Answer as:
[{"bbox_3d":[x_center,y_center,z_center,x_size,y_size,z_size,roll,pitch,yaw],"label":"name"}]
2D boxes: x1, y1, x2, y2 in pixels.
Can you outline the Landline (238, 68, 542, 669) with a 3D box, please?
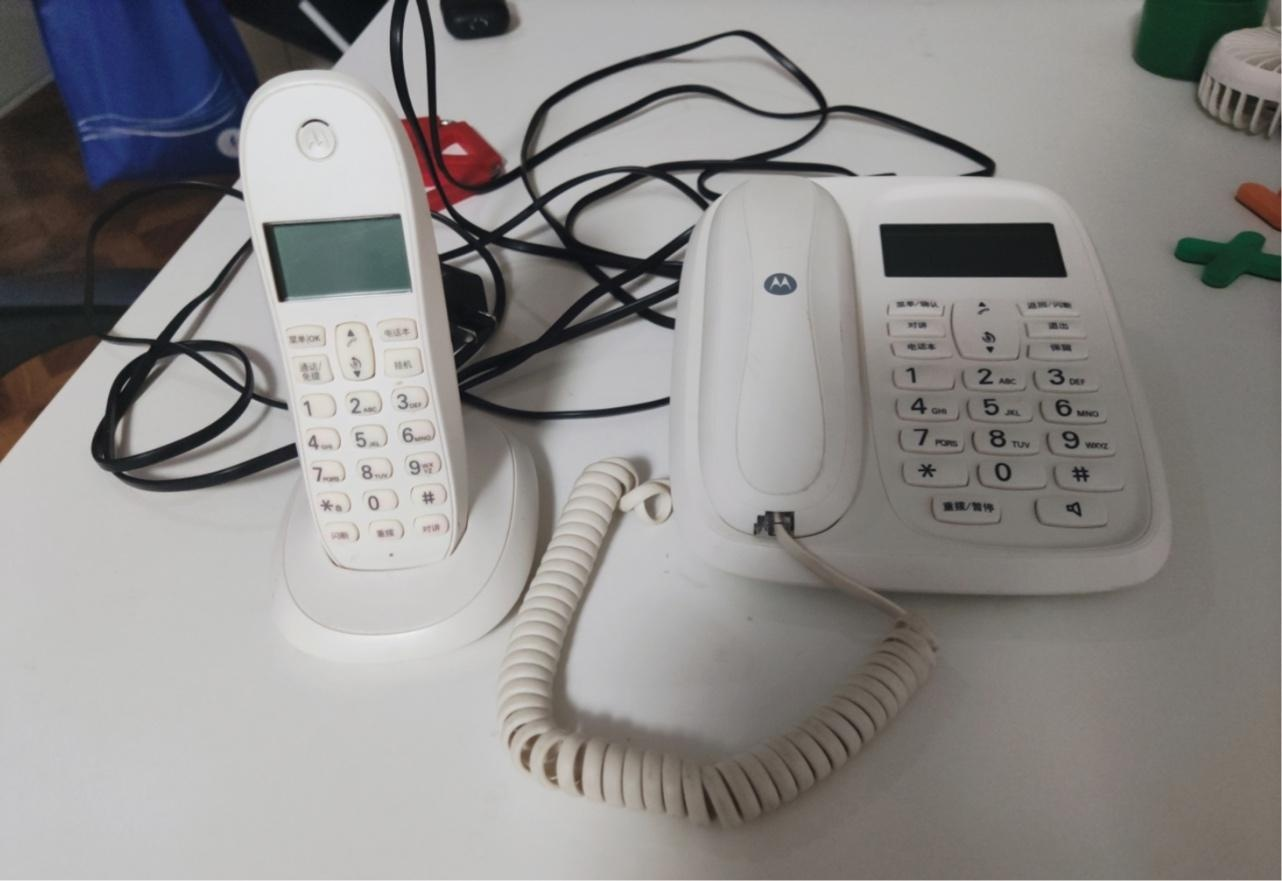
[{"bbox_3d":[-0.144,-0.036,0.597,0.146,0.251,0.180,-6,44,0],"label":"Landline"}]
